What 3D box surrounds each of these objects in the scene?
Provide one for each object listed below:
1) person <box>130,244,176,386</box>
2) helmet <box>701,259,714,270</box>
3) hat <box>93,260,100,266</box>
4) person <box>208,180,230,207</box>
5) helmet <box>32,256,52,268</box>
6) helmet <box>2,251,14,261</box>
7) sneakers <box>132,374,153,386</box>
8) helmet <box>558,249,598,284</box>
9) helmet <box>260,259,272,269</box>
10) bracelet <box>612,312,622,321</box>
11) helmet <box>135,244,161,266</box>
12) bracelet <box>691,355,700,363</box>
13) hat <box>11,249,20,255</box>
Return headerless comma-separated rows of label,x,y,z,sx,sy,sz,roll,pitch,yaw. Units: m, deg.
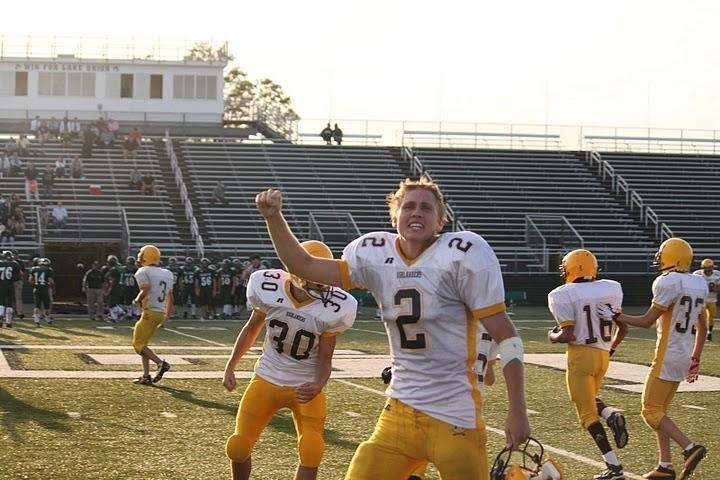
person,-3.588,1.285,18.362,0.675,2.326,1.331,-1,2,-11
helmet,8.060,0.584,24.404,0.399,0.274,0.365,1,-6,10
hat,-7.266,0.651,29.190,0.194,0.078,0.274,5,-3,-13
person,-4.814,-1.554,35.969,0.664,0.776,1.273,-1,2,-8
helmet,-8.251,0.583,27.309,0.391,0.255,0.317,-6,24,-27
helmet,-8.472,0.379,25.429,0.242,0.272,0.120,9,-20,-15
sneakers,-3.694,2.397,17.870,0.376,0.136,0.146,5,5,38
helmet,3.121,0.400,14.967,0.501,0.454,0.527,3,-1,-24
helmet,-2.524,0.664,28.459,0.255,0.242,0.311,6,-10,-15
bracelet,3.574,1.078,14.587,0.123,0.131,0.062,0,2,4
helmet,-3.767,0.280,18.591,0.535,0.375,0.372,4,0,25
bracelet,4.832,1.734,15.152,0.089,0.051,0.103,4,-10,-1
hat,-8.970,0.324,27.494,0.218,0.046,0.197,16,3,1
